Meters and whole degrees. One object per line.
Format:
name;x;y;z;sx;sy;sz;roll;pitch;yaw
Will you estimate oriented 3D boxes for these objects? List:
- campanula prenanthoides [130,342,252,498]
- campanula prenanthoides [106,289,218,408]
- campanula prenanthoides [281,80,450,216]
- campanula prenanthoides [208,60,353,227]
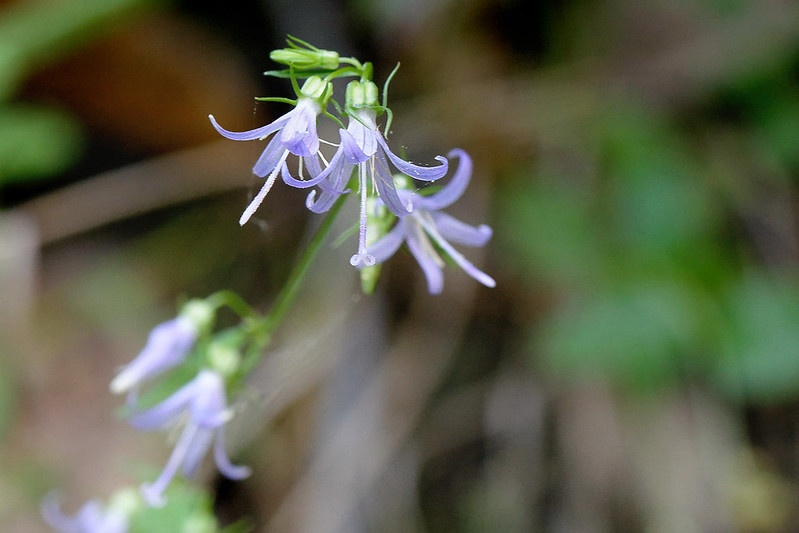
campanula prenanthoides;-0.598;0.472;2.322;0.312;0.339;0.107;32;25;13
campanula prenanthoides;-0.660;0.227;2.326;0.151;0.166;0.458;34;82;2
campanula prenanthoides;-0.100;-0.375;2.321;0.459;0.450;0.333;2;97;32
campanula prenanthoides;-0.393;-0.378;2.652;0.310;0.288;0.458;26;52;2
